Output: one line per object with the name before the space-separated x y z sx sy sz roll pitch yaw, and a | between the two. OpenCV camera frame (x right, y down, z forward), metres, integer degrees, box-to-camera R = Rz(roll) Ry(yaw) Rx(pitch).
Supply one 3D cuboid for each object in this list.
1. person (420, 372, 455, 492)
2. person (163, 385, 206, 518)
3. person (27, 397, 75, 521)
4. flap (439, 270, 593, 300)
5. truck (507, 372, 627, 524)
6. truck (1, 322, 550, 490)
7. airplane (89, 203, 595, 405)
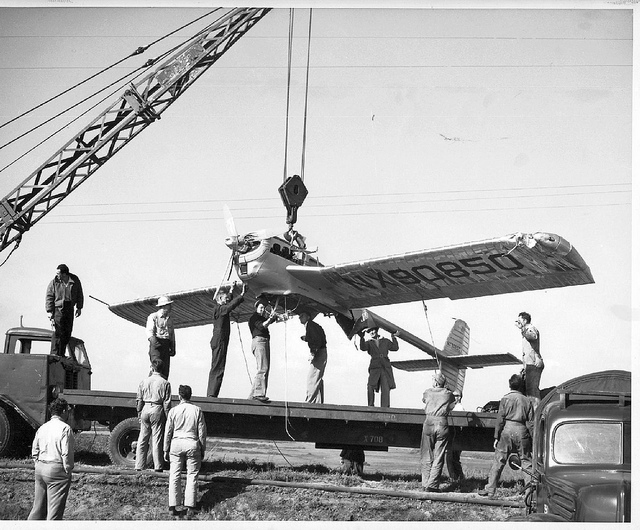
person | 1.634 2.306 11.873 0.433 1.600 0.238 2 -5 9
person | -1.802 2.409 11.162 0.542 1.684 0.371 3 -5 -2
person | -3.278 2.387 10.424 0.507 1.508 0.476 3 -5 -3
flap | 3.153 0.322 13.814 2.630 0.421 0.660 -2 -8 45
truck | 2.873 2.135 9.498 1.068 1.465 0.923 1 -6 21
truck | -0.860 2.183 11.838 8.309 2.576 2.288 3 -14 2
airplane | 0.497 0.666 12.999 6.037 1.867 8.018 -7 -12 41
